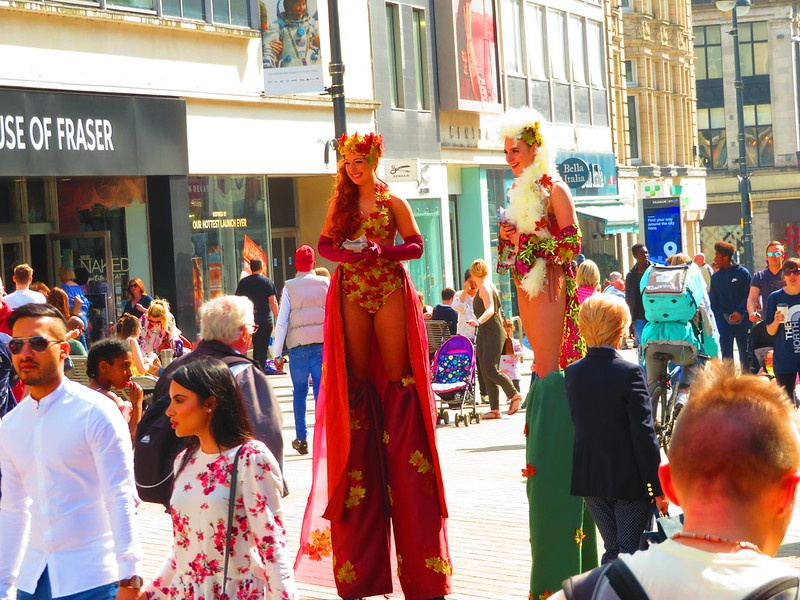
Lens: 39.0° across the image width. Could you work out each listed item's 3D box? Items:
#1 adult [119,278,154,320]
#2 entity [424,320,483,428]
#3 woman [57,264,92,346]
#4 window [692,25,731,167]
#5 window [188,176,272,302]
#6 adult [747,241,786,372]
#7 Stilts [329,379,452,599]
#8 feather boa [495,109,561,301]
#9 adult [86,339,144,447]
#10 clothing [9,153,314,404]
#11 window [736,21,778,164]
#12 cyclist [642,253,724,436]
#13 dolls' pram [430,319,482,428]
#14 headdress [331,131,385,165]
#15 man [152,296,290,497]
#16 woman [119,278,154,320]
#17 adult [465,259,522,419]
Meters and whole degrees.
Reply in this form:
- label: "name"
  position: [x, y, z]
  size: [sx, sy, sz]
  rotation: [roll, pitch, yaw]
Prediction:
- label: "adult"
  position: [-3.940, 0.016, 16.768]
  size: [0.430, 1.000, 0.331]
  rotation: [-5, -17, 5]
- label: "entity"
  position: [0.704, 0.905, 14.930]
  size: [0.573, 1.431, 0.900]
  rotation: [-2, -2, 9]
- label: "woman"
  position: [-5.090, 0.226, 17.349]
  size: [0.396, 1.382, 0.346]
  rotation: [-16, 9, -36]
- label: "window"
  position: [18.898, -12.581, 69.622]
  size: [2.501, 10.388, 0.437]
  rotation: [0, -9, -1]
- label: "window"
  position: [-2.942, -1.017, 19.045]
  size: [0.085, 2.134, 1.972]
  rotation: [2, 5, 29]
- label: "adult"
  position: [4.990, 0.229, 15.325]
  size: [0.589, 1.953, 0.574]
  rotation: [-4, 25, 2]
- label: "Stilts"
  position: [-0.077, 1.171, 6.903]
  size: [0.679, 1.270, 0.369]
  rotation: [-3, 4, -5]
- label: "feather boa"
  position: [0.823, -0.504, 7.005]
  size: [0.353, 1.166, 0.362]
  rotation: [-4, 5, -21]
- label: "adult"
  position: [-1.928, 0.734, 8.060]
  size: [0.223, 0.717, 0.186]
  rotation: [-11, 16, 11]
- label: "clothing"
  position: [-3.193, -0.409, 14.382]
  size: [3.593, 3.777, 1.926]
  rotation: [-3, 3, -36]
- label: "window"
  position: [21.323, -12.334, 68.105]
  size: [2.103, 11.345, 0.693]
  rotation: [0, -24, 10]
- label: "cyclist"
  position: [2.938, 0.471, 12.303]
  size: [1.030, 1.984, 1.006]
  rotation: [10, -8, -32]
- label: "dolls' pram"
  position: [0.681, 1.046, 14.895]
  size: [0.543, 1.055, 0.917]
  rotation: [-6, 8, 22]
- label: "headdress"
  position: [-0.228, -0.959, 7.198]
  size: [0.209, 0.144, 0.224]
  rotation: [3, 6, 34]
- label: "man"
  position: [-1.053, 0.600, 6.756]
  size: [0.977, 1.100, 0.501]
  rotation: [-1, 8, 34]
- label: "woman"
  position: [-3.892, 0.235, 16.727]
  size: [0.421, 1.045, 0.344]
  rotation: [-4, -7, 17]
- label: "adult"
  position: [1.256, 0.557, 15.425]
  size: [0.807, 2.125, 0.806]
  rotation: [1, 1, 8]
